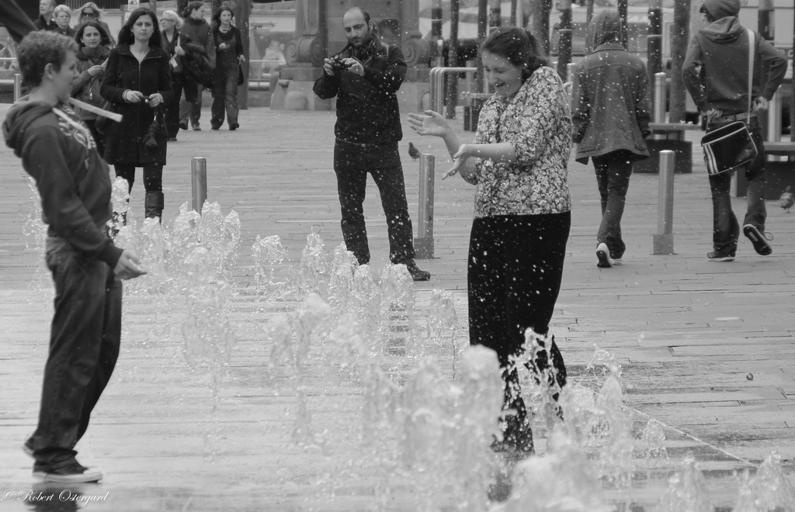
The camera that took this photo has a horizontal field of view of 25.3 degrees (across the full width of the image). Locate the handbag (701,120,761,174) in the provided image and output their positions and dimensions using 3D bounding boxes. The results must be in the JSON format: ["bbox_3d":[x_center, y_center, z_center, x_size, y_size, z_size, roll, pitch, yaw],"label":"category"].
[{"bbox_3d":[3.088,-1.002,16.201,0.476,0.306,0.257,-20,0,-10],"label":"handbag"}]

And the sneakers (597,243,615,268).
[{"bbox_3d":[1.870,-0.019,15.847,0.099,0.250,0.107,-2,51,8],"label":"sneakers"}]

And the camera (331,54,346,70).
[{"bbox_3d":[-0.481,-1.630,15.081,0.124,0.110,0.046,5,-16,0],"label":"camera"}]

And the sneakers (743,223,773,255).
[{"bbox_3d":[3.346,-0.171,16.322,0.262,0.282,0.264,3,9,11],"label":"sneakers"}]

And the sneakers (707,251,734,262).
[{"bbox_3d":[2.955,-0.004,16.062,0.236,0.099,0.092,4,10,8],"label":"sneakers"}]

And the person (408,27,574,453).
[{"bbox_3d":[0.788,-0.124,12.019,0.738,2.799,0.578,3,9,14],"label":"person"}]

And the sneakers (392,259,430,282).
[{"bbox_3d":[0.161,0.106,15.463,0.341,0.251,0.158,-6,5,4],"label":"sneakers"}]

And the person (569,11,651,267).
[{"bbox_3d":[1.966,-1.091,16.185,0.729,2.234,1.009,2,9,6],"label":"person"}]

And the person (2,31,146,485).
[{"bbox_3d":[-2.140,-0.011,11.777,0.844,2.891,0.628,-1,9,-11],"label":"person"}]
